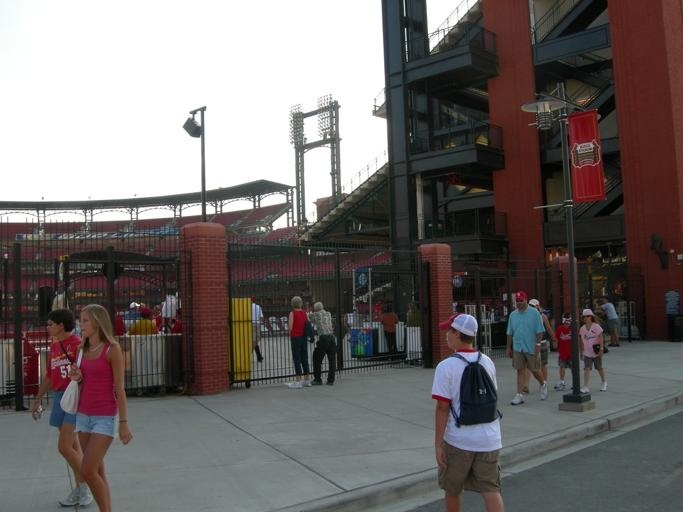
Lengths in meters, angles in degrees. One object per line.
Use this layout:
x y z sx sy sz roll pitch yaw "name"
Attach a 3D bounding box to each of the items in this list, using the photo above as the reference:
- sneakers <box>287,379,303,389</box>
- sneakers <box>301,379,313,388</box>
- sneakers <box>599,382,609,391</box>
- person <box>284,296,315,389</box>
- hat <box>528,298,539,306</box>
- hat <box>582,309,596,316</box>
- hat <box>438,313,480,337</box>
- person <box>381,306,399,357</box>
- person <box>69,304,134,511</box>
-1.160 3.070 17.564 0.371 0.180 0.159 1 -3 22 "sneakers"
-0.859 3.073 17.797 0.100 0.146 0.312 -1 2 -21 "sneakers"
6.107 3.021 16.964 0.115 0.173 0.372 -14 -7 31 "sneakers"
-1.021 2.049 17.687 0.631 2.197 1.119 -4 -5 -4 "person"
4.301 0.999 16.338 0.202 0.170 0.304 0 -21 32 "hat"
5.639 1.265 16.553 0.318 0.181 0.236 -2 1 -28 "hat"
1.543 0.871 9.532 0.417 0.260 0.303 18 6 30 "hat"
1.481 2.129 21.904 0.495 1.674 0.459 3 24 11 "person"
-3.233 2.019 9.790 0.770 2.758 0.441 -4 -5 -10 "person"
